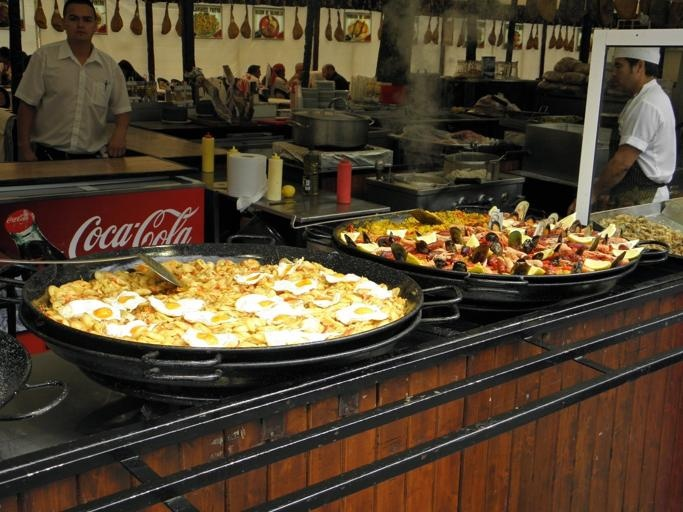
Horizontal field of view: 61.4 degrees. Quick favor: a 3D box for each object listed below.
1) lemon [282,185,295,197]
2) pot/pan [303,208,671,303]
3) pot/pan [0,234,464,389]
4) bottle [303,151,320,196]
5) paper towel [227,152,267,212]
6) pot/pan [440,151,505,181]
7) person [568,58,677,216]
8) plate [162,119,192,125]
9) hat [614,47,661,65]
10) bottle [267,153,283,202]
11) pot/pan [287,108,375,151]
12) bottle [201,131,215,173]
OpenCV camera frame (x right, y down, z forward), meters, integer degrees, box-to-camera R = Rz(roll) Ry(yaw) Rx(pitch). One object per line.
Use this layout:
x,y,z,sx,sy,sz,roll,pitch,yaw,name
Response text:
-0.327,-0.391,3.498,0.077,0.073,0.166,-1,13,-5,lemon
0.490,-0.006,1.689,0.641,0.077,0.587,-6,11,-31,pot/pan
-0.251,0.121,1.334,0.810,0.189,0.736,-11,17,-41,pot/pan
-0.196,-0.521,3.627,0.093,0.268,0.177,-1,17,-6,bottle
-0.623,-0.508,3.523,0.288,0.211,0.228,3,19,-4,paper towel
0.956,-0.645,4.145,0.397,0.094,0.280,3,14,6,pot/pan
1.293,-0.532,2.469,0.329,0.672,0.110,5,19,14,person
-1.756,-1.403,6.080,0.299,0.052,0.265,-2,13,-13,plate
1.223,-0.818,2.379,0.128,0.045,0.094,10,24,29,hat
-0.406,-0.456,3.401,0.094,0.267,0.218,-2,16,-8,bottle
-0.167,-0.983,4.475,0.550,0.148,0.507,-4,17,-29,pot/pan
-0.920,-0.691,3.920,0.061,0.265,0.104,-7,19,-24,bottle
